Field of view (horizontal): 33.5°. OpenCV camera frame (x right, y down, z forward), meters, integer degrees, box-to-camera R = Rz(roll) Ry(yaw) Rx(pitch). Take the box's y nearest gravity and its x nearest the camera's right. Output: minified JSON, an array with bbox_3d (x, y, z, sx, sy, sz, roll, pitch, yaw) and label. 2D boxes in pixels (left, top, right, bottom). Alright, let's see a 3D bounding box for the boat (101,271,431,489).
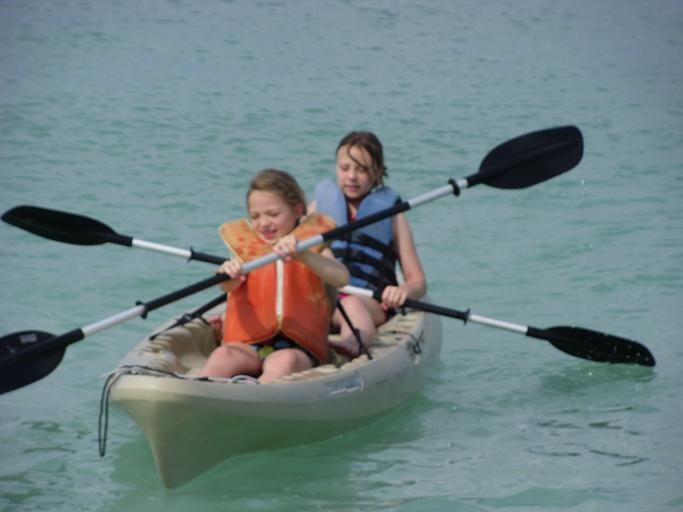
[{"bbox_3d":[-0.426,0.799,8.555,1.796,0.809,3.317,7,17,29],"label":"boat"}]
